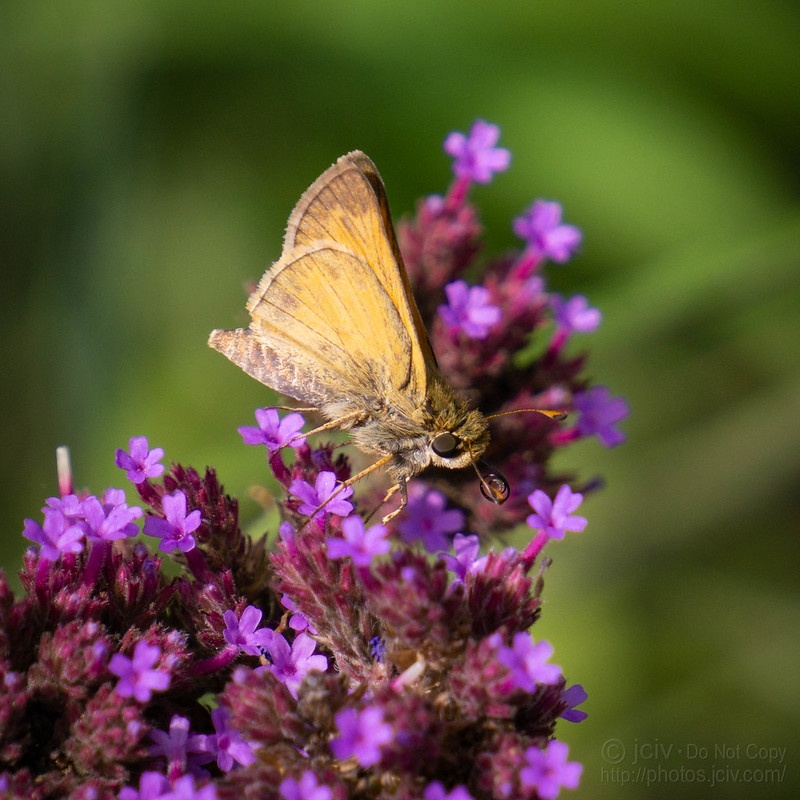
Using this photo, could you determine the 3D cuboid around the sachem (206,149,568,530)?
[{"bbox_3d":[-0.267,-0.377,5.879,1.618,2.338,1.283,-15,18,-17],"label":"sachem"}]
